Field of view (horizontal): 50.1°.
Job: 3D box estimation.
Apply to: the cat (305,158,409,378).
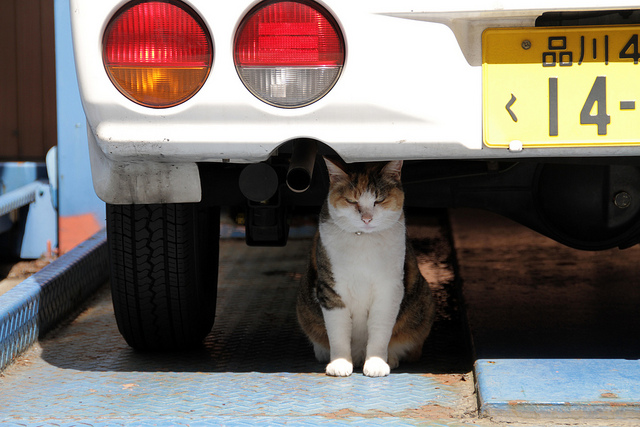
[{"bbox_3d":[0.174,0.282,3.269,0.506,0.931,0.966,3,-9,-5],"label":"cat"}]
